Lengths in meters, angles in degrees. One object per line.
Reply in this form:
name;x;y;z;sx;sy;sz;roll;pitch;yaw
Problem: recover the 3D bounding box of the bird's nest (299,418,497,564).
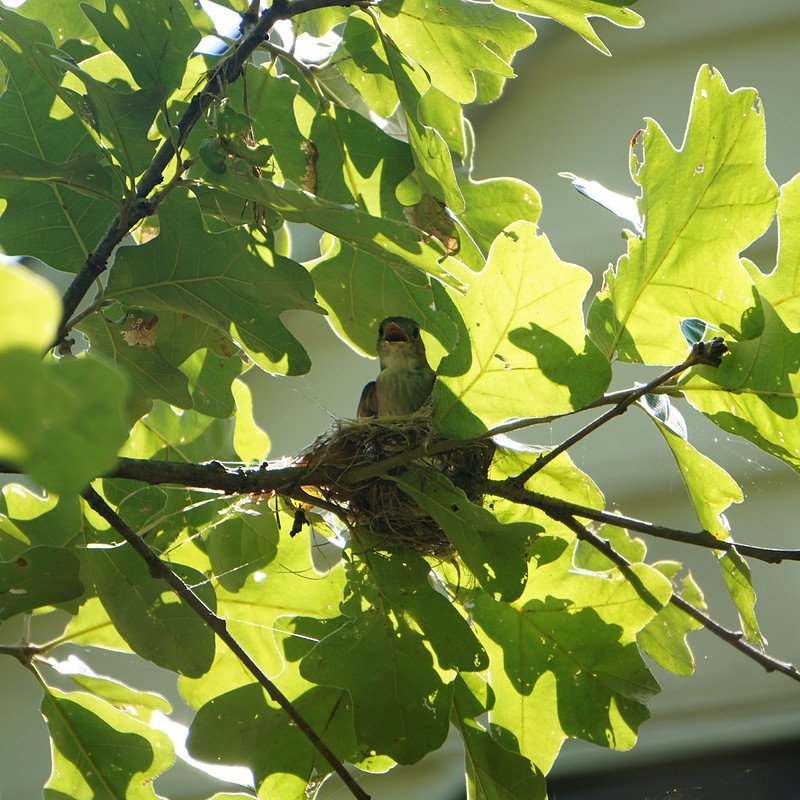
bird's nest;-0.025;0.158;3.129;0.361;0.121;0.346;-32;-61;-7
